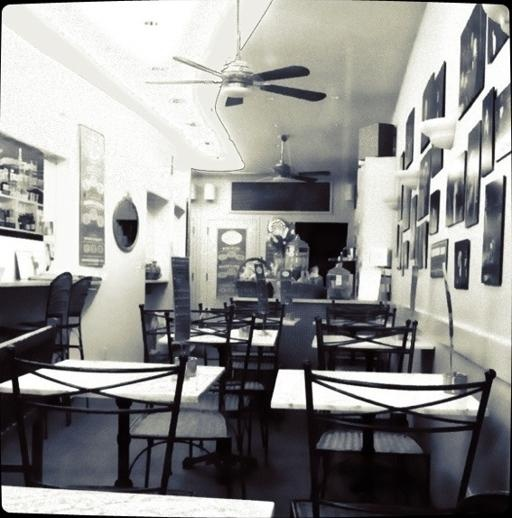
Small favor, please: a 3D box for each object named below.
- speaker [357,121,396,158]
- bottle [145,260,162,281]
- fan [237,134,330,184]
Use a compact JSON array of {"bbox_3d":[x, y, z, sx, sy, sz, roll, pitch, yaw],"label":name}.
[{"bbox_3d":[0.801,-0.776,3.786,0.224,0.286,0.237,0,3,38],"label":"speaker"},{"bbox_3d":[-0.579,0.067,3.221,0.088,0.117,0.076,-2,0,11],"label":"bottle"},{"bbox_3d":[0.204,-0.588,3.358,0.460,0.308,0.280,7,6,7],"label":"fan"}]
